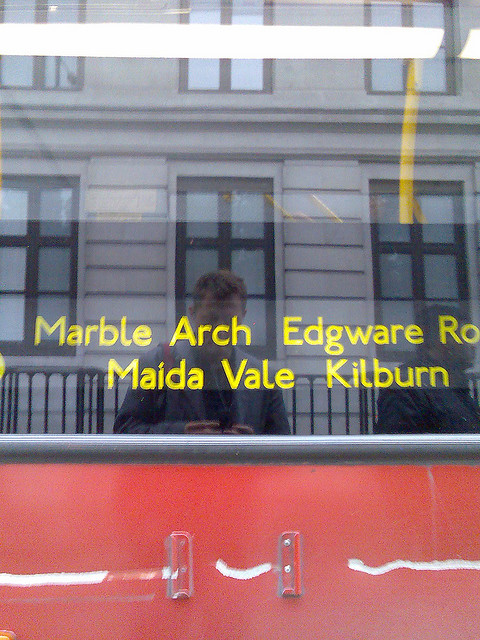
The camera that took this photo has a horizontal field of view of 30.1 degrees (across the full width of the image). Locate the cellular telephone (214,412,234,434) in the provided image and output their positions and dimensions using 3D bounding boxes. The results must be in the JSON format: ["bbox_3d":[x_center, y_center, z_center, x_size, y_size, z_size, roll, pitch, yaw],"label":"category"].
[{"bbox_3d":[-0.048,0.334,2.907,0.050,0.057,0.013,0,-14,0],"label":"cellular telephone"}]
